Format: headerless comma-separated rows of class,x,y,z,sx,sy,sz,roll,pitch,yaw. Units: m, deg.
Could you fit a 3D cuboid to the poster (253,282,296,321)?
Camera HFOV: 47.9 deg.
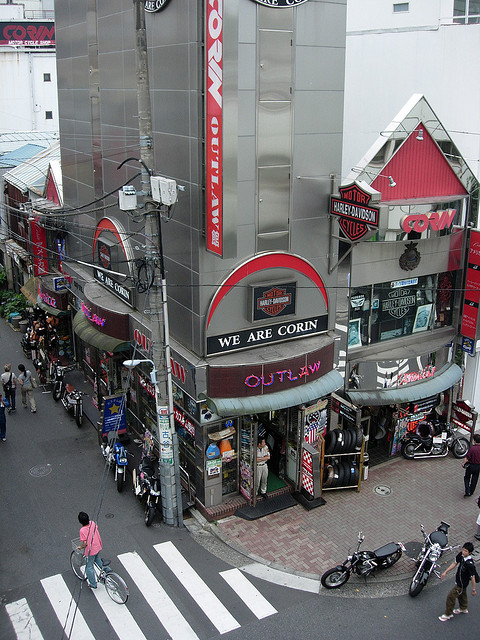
poster,0.867,-0.500,13.656,1.339,0.826,0.198,-8,15,-38

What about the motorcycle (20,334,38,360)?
motorcycle,-9.377,1.120,24.003,0.548,1.019,0.971,-8,9,-32

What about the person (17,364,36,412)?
person,-7.747,2.342,19.613,0.503,1.815,0.883,-4,13,-22

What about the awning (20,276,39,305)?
awning,-10.216,-1.503,26.331,0.382,1.416,1.366,14,30,-40

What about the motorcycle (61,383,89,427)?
motorcycle,-5.798,2.866,19.408,0.772,0.812,1.561,16,10,-32

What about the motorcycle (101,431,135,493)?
motorcycle,-3.367,3.895,15.588,0.863,0.964,1.770,8,31,-26

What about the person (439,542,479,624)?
person,4.372,5.202,10.785,0.712,1.688,0.602,1,50,4

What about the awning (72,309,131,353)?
awning,-4.829,0.342,18.003,0.769,0.723,3.220,-10,16,-42

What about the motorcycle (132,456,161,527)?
motorcycle,-2.409,4.318,13.931,0.609,1.129,1.545,-2,12,-14

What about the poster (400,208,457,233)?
poster,5.235,-2.819,15.089,2.026,0.652,0.233,-7,14,-33

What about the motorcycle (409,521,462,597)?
motorcycle,4.056,4.896,11.546,0.593,1.216,1.707,6,13,24

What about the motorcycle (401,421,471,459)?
motorcycle,6.092,3.689,17.220,2.056,1.183,0.873,-2,4,-8

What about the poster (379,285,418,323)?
poster,4.722,-0.592,16.258,1.045,0.741,0.018,-15,27,-31

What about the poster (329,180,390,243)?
poster,2.807,-2.550,12.798,0.371,1.409,2.261,-3,13,-17

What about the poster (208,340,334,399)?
poster,0.807,1.265,13.412,3.281,1.051,0.477,-4,13,-24

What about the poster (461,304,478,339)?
poster,7.219,-0.029,17.037,0.165,0.986,0.582,-2,12,-15
